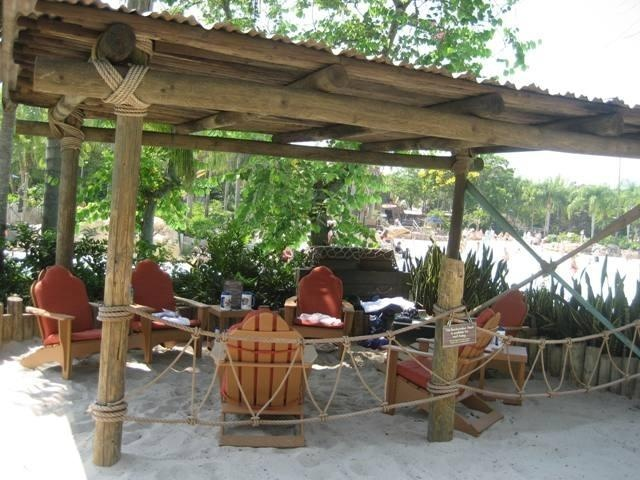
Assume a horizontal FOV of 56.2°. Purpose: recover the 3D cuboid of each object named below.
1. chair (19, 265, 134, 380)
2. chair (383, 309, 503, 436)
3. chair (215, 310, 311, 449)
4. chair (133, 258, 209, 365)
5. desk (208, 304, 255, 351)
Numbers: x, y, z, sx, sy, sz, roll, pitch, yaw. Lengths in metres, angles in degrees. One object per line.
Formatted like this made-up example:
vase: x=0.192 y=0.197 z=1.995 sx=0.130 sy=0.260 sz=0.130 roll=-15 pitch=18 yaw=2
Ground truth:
chair: x=-3.196 y=1.015 z=7.768 sx=1.161 sy=1.315 sz=1.258 roll=-2 pitch=5 yaw=-33
chair: x=1.470 y=1.472 z=7.280 sx=1.429 sy=1.363 sz=1.101 roll=3 pitch=-4 yaw=14
chair: x=-0.669 y=1.483 z=6.796 sx=1.072 sy=1.381 sz=1.484 roll=2 pitch=-3 yaw=-11
chair: x=-2.187 y=0.981 z=8.370 sx=0.997 sy=1.320 sz=1.135 roll=-1 pitch=4 yaw=-45
desk: x=-1.330 y=1.190 z=8.542 sx=0.468 sy=0.342 sz=0.477 roll=14 pitch=0 yaw=1
